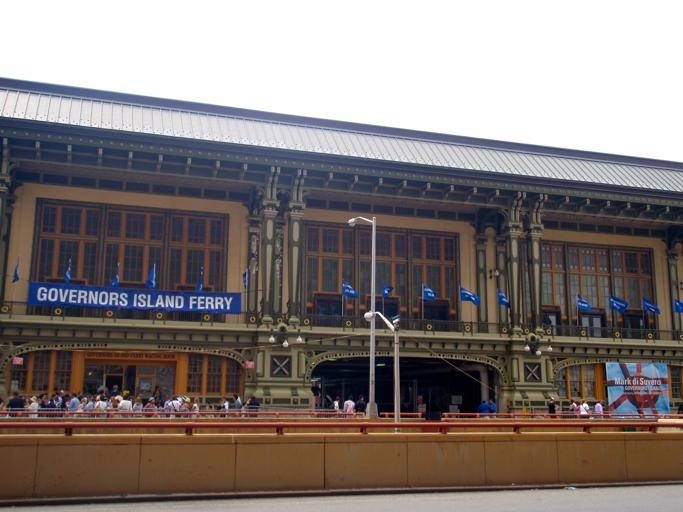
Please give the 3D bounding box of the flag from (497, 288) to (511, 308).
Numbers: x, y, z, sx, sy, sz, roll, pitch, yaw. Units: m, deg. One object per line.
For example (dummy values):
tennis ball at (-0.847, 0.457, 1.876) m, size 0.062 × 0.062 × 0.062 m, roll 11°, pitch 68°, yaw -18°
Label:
flag at (9.767, 2.559, 48.358) m, size 1.080 × 1.182 × 0.214 m, roll 15°, pitch -25°, yaw -40°

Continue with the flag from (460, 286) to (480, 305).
flag at (7.722, 2.320, 46.958) m, size 0.953 × 0.366 × 1.233 m, roll 12°, pitch -13°, yaw 41°

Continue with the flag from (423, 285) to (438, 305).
flag at (5.237, 2.329, 47.465) m, size 1.114 × 1.126 × 0.156 m, roll 10°, pitch -22°, yaw -35°

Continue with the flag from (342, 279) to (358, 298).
flag at (0.484, 1.904, 45.947) m, size 1.073 × 1.131 × 0.086 m, roll 13°, pitch -41°, yaw -21°

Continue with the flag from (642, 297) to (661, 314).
flag at (19.697, 3.018, 51.318) m, size 1.027 × 1.220 × 2.639 m, roll -7°, pitch -15°, yaw 21°

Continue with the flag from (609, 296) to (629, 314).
flag at (17.294, 3.110, 50.285) m, size 1.043 × 0.749 × 0.312 m, roll 13°, pitch -17°, yaw 28°
